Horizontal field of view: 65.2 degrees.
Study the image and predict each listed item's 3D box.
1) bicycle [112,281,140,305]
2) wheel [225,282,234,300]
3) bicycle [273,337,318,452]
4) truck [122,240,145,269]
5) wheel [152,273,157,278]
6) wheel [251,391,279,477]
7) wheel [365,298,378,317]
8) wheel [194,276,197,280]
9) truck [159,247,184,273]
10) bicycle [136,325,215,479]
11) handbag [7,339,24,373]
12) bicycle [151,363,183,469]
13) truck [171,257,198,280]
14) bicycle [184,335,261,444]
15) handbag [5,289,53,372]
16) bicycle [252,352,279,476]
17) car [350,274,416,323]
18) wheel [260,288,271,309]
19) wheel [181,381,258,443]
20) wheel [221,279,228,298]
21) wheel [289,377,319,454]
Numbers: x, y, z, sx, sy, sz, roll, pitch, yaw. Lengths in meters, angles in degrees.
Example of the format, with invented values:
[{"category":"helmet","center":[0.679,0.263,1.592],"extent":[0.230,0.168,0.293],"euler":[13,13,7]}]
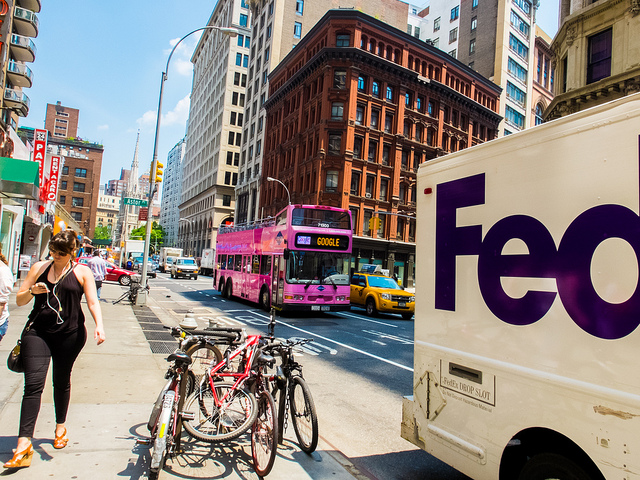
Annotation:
[{"category":"bicycle","center":[-7.682,2.040,19.944],"extent":[0.764,0.864,2.495],"euler":[5,-2,-29]},{"category":"wheel","center":[-4.580,2.605,25.600],"extent":[0.297,0.954,0.876],"euler":[2,-2,-23]},{"category":"bicycle","center":[-0.331,1.961,6.338],"extent":[0.563,1.111,0.730],"euler":[4,-2,-8]},{"category":"truck","center":[-21.681,1.691,57.979],"extent":[2.324,2.542,4.222],"euler":[3,-9,-25]},{"category":"wheel","center":[-15.249,3.267,46.159],"extent":[0.412,0.456,0.760],"euler":[5,-9,-34]},{"category":"wheel","center":[-0.631,2.222,5.677],"extent":[0.304,0.953,0.847],"euler":[3,8,-13]},{"category":"wheel","center":[2.234,2.885,21.581],"extent":[0.234,0.754,0.699],"euler":[0,8,-13]},{"category":"wheel","center":[-11.390,3.472,46.030],"extent":[0.254,0.296,0.277],"euler":[3,2,0]},{"category":"truck","center":[-17.823,2.254,60.677],"extent":[1.947,2.492,4.229],"euler":[2,-5,-21]},{"category":"bicycle","center":[-1.457,1.841,5.659],"extent":[0.602,0.851,1.381],"euler":[19,6,-11]},{"category":"handbag","center":[-3.352,1.285,5.547],"extent":[0.156,0.405,0.290],"euler":[5,-2,-32]},{"category":"bicycle","center":[-1.662,1.952,5.463],"extent":[0.351,1.079,0.932],"euler":[4,-2,-16]},{"category":"truck","center":[-12.775,2.533,46.880],"extent":[1.538,1.382,2.671],"euler":[3,-9,-23]},{"category":"bicycle","center":[-1.148,1.752,5.887],"extent":[0.819,1.072,0.595],"euler":[4,-2,-10]},{"category":"handbag","center":[-3.233,1.001,5.545],"extent":[0.447,1.002,0.160],"euler":[4,-2,9]},{"category":"bicycle","center":[-0.629,2.008,5.818],"extent":[0.261,1.110,0.835],"euler":[4,-2,-7]},{"category":"car","center":[2.642,2.561,22.645],"extent":[1.805,1.737,3.865],"euler":[5,-8,-21]},{"category":"wheel","center":[-2.210,2.393,20.485],"extent":[0.265,0.928,0.857],"euler":[1,-3,-17]},{"category":"wheel","center":[-1.189,1.948,5.822],"extent":[0.840,0.972,0.212],"euler":[11,22,-21]},{"category":"wheel","center":[-5.085,2.555,26.729],"extent":[0.284,0.997,0.922],"euler":[3,-2,-15]},{"category":"wheel","center":[-0.211,2.194,6.308],"extent":[0.243,0.729,0.668],"euler":[5,-2,-33]}]
